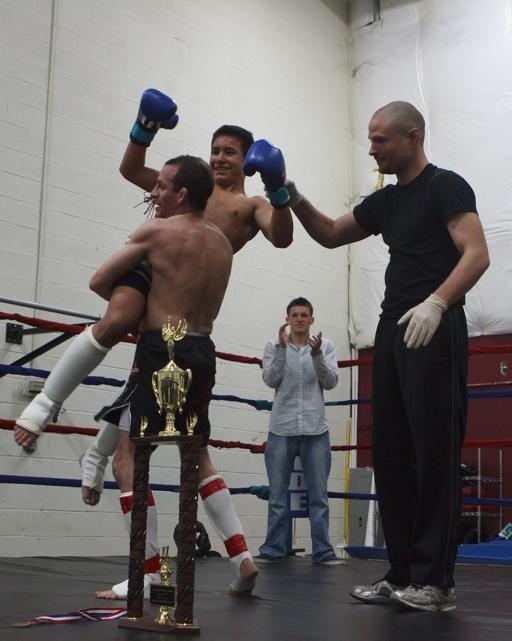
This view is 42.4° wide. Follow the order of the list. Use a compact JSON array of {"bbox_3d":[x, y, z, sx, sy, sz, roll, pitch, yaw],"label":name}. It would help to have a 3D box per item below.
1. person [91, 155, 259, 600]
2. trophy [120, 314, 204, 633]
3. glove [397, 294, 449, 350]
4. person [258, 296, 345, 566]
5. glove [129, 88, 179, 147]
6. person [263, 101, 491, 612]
[{"bbox_3d":[-0.260,0.144,1.785,0.472,1.143,0.389,4,-5,-33],"label":"person"},{"bbox_3d":[-0.143,0.274,1.304,0.169,0.569,0.177,1,-2,34],"label":"trophy"},{"bbox_3d":[0.432,0.002,1.700,0.104,0.142,0.072,2,-2,15],"label":"glove"},{"bbox_3d":[0.234,0.594,3.746,0.514,1.460,0.408,1,-7,-6],"label":"person"},{"bbox_3d":[-0.329,-0.649,2.279,0.188,0.217,0.185,3,1,-21],"label":"glove"},{"bbox_3d":[0.407,0.059,1.889,0.327,1.408,0.593,4,-3,-21],"label":"person"}]
